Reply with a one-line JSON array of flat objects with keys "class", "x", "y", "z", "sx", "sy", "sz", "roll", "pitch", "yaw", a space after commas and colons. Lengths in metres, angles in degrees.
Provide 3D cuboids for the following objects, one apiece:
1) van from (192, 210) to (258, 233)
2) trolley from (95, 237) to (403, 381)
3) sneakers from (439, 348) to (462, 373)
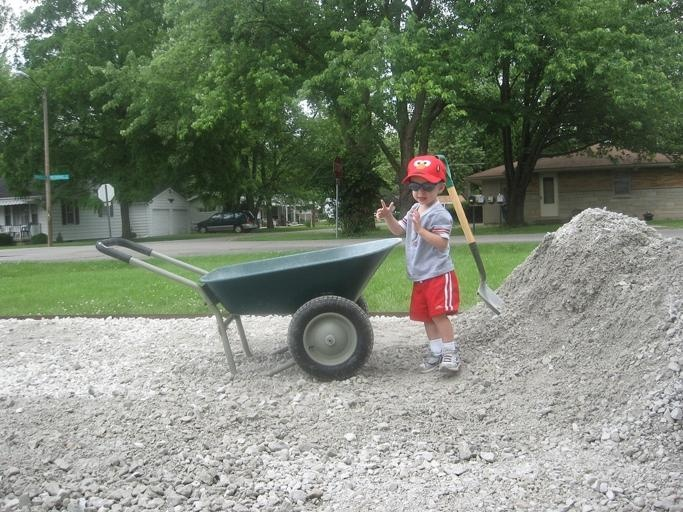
[{"class": "van", "x": -6.165, "y": -1.849, "z": 39.836, "sx": 2.869, "sy": 1.159, "sz": 1.381, "roll": 4, "pitch": 5, "yaw": 17}, {"class": "trolley", "x": -0.550, "y": 0.506, "z": 7.099, "sx": 2.232, "sy": 1.257, "sz": 0.923, "roll": -2, "pitch": 2, "yaw": 3}, {"class": "sneakers", "x": 1.038, "y": 0.961, "z": 6.833, "sx": 0.305, "sy": 0.213, "sz": 0.155, "roll": -4, "pitch": 3, "yaw": -41}]
